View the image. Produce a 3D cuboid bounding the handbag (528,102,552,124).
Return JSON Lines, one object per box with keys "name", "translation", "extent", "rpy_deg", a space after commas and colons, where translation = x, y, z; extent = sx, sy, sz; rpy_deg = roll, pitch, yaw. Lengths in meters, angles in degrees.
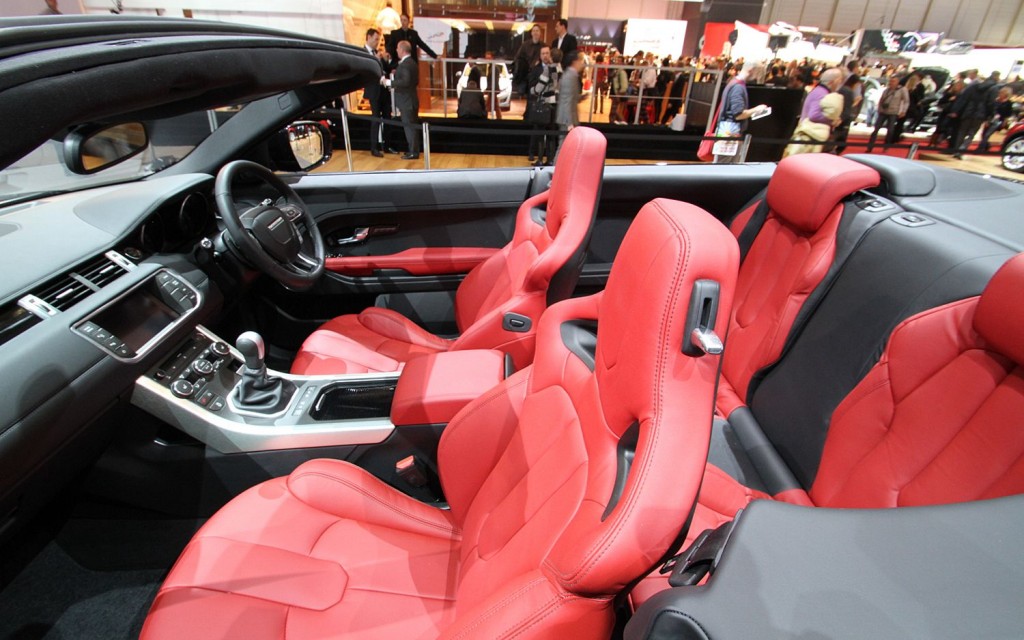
{"name": "handbag", "translation": [0.309, -2.205, 6.072], "extent": [0.246, 0.228, 0.149], "rpy_deg": [5, 49, 1]}
